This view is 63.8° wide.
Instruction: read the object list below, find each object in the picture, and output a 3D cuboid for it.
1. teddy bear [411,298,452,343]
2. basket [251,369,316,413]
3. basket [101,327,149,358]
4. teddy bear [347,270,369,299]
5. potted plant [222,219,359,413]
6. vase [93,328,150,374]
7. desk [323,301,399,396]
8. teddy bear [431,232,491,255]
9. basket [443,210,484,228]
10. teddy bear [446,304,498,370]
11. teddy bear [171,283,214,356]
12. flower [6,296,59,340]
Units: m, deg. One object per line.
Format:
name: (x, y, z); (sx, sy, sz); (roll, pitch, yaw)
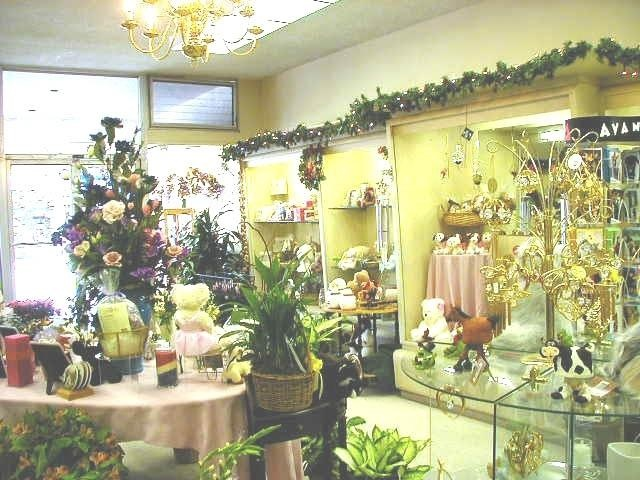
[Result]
teddy bear: (1.134, 0.820, 5.211); (0.359, 0.440, 0.557); (-3, 3, -18)
basket: (-0.202, 0.759, 2.606); (0.257, 0.114, 0.217); (0, -1, 6)
basket: (-1.086, 0.582, 2.860); (0.181, 0.113, 0.193); (-2, -4, -5)
teddy bear: (0.449, 0.486, 5.800); (0.241, 0.425, 0.315); (5, -3, 9)
potted plant: (-0.346, 0.356, 3.180); (0.812, 1.250, 0.861); (-5, 6, -42)
vase: (-1.099, 0.619, 2.870); (0.249, 0.219, 0.271); (-2, -2, -6)
desk: (0.517, 1.111, 6.073); (1.025, 0.689, 1.097); (-2, 5, 3)
teddy bear: (1.459, 0.039, 5.419); (0.583, 0.208, 0.416); (-1, 3, 21)
basket: (1.541, -0.215, 5.624); (0.411, 0.190, 0.288); (-2, 3, 15)
teddy bear: (0.872, 0.573, 3.064); (0.227, 0.333, 0.513); (-2, 3, 13)
teddy bear: (-0.716, 0.470, 2.919); (0.252, 0.442, 0.200); (-3, 3, -8)
flower: (-1.750, 0.466, 3.125); (0.219, 0.125, 0.214); (-4, 6, -40)
